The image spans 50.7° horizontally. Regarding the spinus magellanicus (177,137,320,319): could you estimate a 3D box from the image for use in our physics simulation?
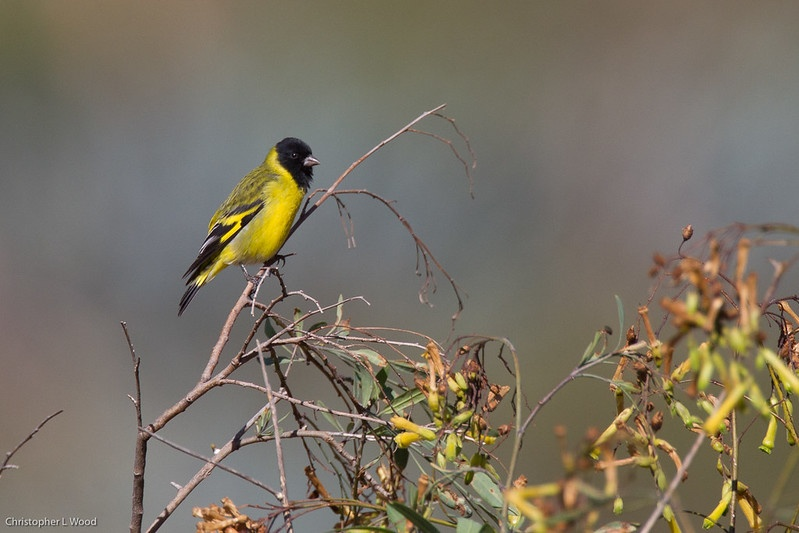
[{"bbox_3d":[-0.909,-0.240,5.018,0.932,0.407,0.968,-8,-97,5],"label":"spinus magellanicus"}]
